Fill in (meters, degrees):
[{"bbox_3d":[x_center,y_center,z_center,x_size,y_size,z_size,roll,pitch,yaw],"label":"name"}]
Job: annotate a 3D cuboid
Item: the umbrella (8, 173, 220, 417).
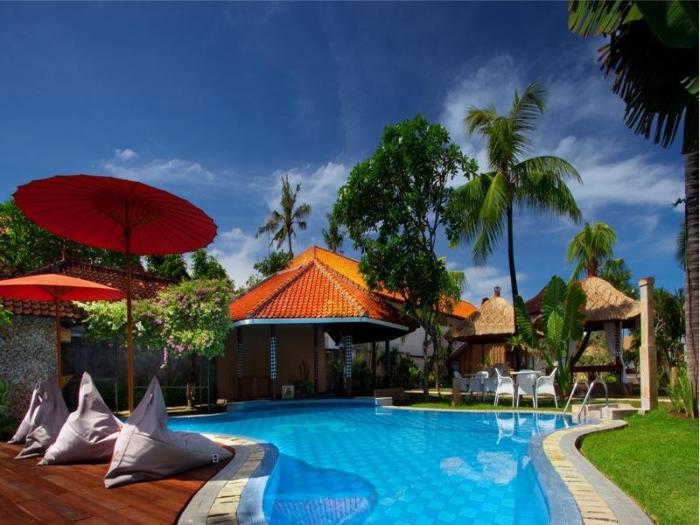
[{"bbox_3d":[-4.572,0.438,10.858,3.605,4.934,4.296,0,-32,-18],"label":"umbrella"}]
